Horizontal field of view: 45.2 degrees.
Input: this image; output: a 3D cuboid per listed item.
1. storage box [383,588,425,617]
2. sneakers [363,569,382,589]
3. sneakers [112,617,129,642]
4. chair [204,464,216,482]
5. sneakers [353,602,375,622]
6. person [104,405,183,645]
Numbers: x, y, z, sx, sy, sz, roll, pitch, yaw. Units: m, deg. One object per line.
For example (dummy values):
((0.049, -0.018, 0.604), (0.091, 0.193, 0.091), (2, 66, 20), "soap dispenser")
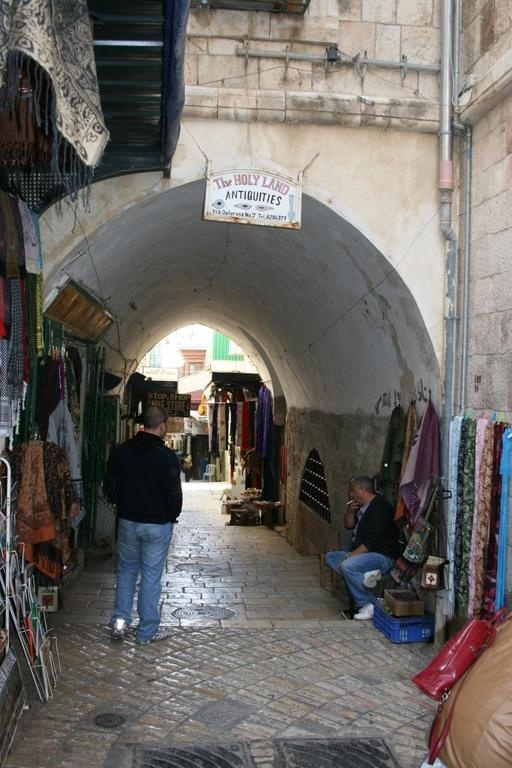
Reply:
((1.221, 1.777, 5.004), (0.307, 0.160, 0.366), (3, 0, -8), "storage box")
((1.013, 1.688, 5.363), (0.116, 0.171, 0.062), (36, -4, 27), "sneakers")
((-1.024, 1.814, 4.601), (0.081, 0.176, 0.069), (6, 9, -6), "sneakers")
((-1.789, 3.366, 23.486), (0.371, 0.605, 1.087), (2, 0, -7), "chair")
((0.944, 1.999, 5.403), (0.188, 0.141, 0.095), (1, -3, 8), "sneakers")
((-0.850, 1.052, 4.663), (0.605, 1.714, 0.350), (2, -1, 7), "person")
